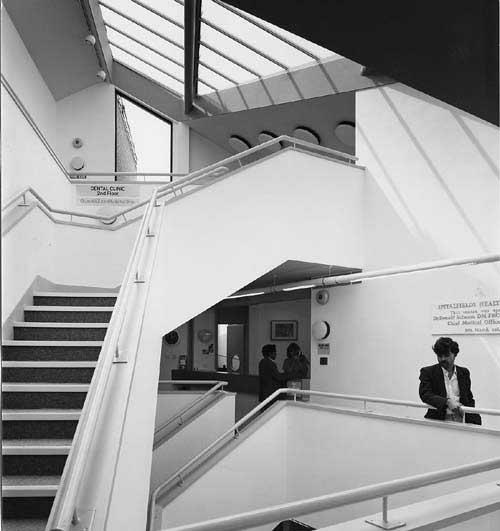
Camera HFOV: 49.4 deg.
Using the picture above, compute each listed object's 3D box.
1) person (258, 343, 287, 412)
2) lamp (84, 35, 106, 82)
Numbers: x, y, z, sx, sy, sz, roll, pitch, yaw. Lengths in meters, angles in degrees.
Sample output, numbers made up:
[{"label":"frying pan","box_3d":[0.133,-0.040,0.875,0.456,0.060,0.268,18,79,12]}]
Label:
[{"label":"person","box_3d":[0.338,1.724,8.605,0.388,0.908,0.686,0,-7,2]},{"label":"lamp","box_3d":[-3.403,-4.359,11.837,0.268,0.301,1.346,-3,-50,1]}]
